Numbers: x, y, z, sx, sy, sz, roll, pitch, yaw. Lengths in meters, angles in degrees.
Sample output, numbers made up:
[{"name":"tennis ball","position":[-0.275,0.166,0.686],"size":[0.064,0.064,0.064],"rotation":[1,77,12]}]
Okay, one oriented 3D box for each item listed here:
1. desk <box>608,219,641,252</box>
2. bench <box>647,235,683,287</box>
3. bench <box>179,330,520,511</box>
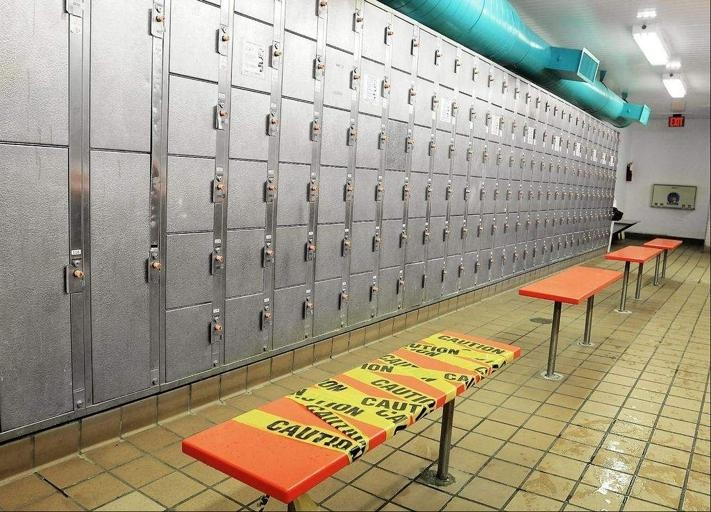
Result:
[{"name":"desk","position":[8.858,-0.694,14.951],"size":[0.853,0.302,1.351],"rotation":[9,19,34]},{"name":"bench","position":[6.297,0.155,9.460],"size":[0.639,0.793,0.881],"rotation":[-15,8,-39]},{"name":"bench","position":[0.076,0.930,2.558],"size":[0.611,0.340,1.901],"rotation":[12,14,42]}]
